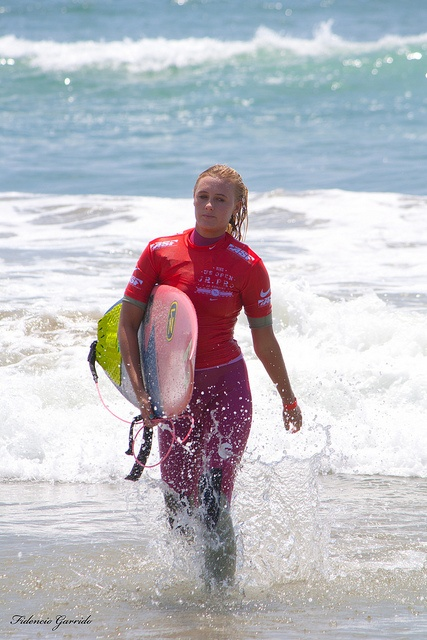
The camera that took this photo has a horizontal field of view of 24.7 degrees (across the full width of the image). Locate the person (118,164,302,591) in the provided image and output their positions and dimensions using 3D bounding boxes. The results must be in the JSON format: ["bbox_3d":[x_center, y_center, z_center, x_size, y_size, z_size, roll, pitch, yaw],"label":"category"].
[{"bbox_3d":[0.024,0.299,5.305,0.829,2.264,0.583,-6,14,-34],"label":"person"}]
